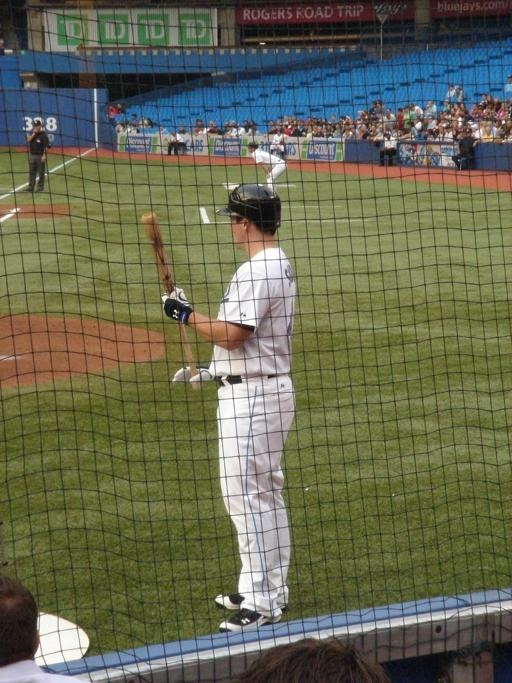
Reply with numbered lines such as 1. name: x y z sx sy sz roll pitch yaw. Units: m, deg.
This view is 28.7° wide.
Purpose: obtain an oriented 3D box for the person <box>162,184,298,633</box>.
1. person: -0.091 0.321 4.654 0.476 2.079 0.695 0 12 15

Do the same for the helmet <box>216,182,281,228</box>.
1. helmet: -0.030 -0.662 4.708 0.331 0.162 0.225 14 34 28

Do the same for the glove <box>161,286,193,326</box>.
1. glove: -0.374 -0.163 4.701 0.131 0.089 0.205 22 8 -45

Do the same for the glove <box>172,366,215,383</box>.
1. glove: -0.331 0.177 5.137 0.119 0.054 0.151 -1 -2 26
